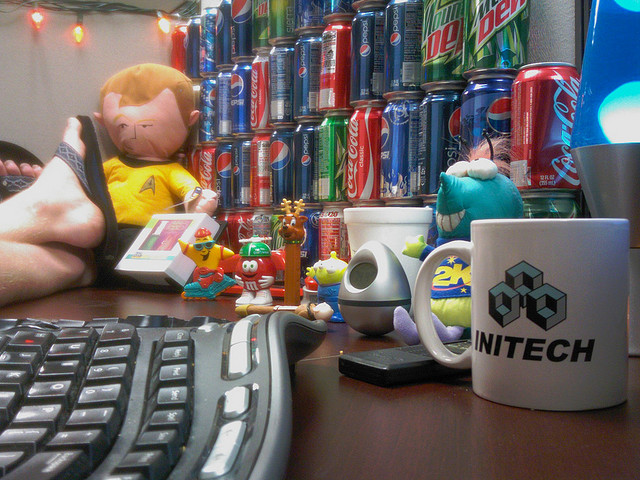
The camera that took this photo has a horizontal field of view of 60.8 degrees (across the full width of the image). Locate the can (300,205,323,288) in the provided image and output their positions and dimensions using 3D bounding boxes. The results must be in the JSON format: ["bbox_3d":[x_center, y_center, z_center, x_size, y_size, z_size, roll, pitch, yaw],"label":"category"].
[{"bbox_3d":[-0.022,0.002,1.107,0.029,0.143,0.055,2,0,-9],"label":"can"}]

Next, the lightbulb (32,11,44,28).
[{"bbox_3d":[-0.680,-0.532,1.320,0.022,0.033,0.008,-6,8,-28],"label":"lightbulb"}]

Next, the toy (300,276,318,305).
[{"bbox_3d":[-0.023,0.082,0.885,0.035,0.042,0.042,0,3,-4],"label":"toy"}]

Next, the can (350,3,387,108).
[{"bbox_3d":[0.099,-0.346,1.034,0.039,0.177,0.067,-6,7,-24],"label":"can"}]

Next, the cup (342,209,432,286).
[{"bbox_3d":[0.107,0.012,0.865,0.109,0.122,0.114,-1,1,0],"label":"cup"}]

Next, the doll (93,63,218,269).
[{"bbox_3d":[-0.372,-0.174,1.313,0.212,0.517,0.260,-3,8,-37],"label":"doll"}]

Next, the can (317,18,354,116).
[{"bbox_3d":[0.039,-0.343,1.091,0.074,0.183,0.075,1,10,0],"label":"can"}]

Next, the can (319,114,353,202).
[{"bbox_3d":[0.029,-0.157,1.074,0.059,0.171,0.047,-2,3,-11],"label":"can"}]

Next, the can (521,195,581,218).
[{"bbox_3d":[0.324,-0.047,0.770,0.050,0.054,0.051,1,3,-1],"label":"can"}]

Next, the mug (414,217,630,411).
[{"bbox_3d":[0.170,0.057,0.481,0.112,0.156,0.187,5,0,18],"label":"mug"}]

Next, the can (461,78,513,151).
[{"bbox_3d":[0.267,-0.189,0.872,0.073,0.121,0.056,6,10,35],"label":"can"}]

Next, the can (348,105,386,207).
[{"bbox_3d":[0.084,-0.161,1.065,0.042,0.183,0.074,-4,0,39],"label":"can"}]

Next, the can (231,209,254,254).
[{"bbox_3d":[-0.180,-0.016,1.286,0.057,0.105,0.060,1,11,0],"label":"can"}]

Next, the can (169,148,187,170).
[{"bbox_3d":[-0.362,-0.215,1.409,0.044,0.049,0.045,-2,9,-10],"label":"can"}]

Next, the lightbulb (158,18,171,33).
[{"bbox_3d":[-0.403,-0.561,1.425,0.015,0.033,0.036,2,8,26],"label":"lightbulb"}]

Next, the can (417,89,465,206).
[{"bbox_3d":[0.214,-0.158,0.960,0.055,0.198,0.070,-9,11,-39],"label":"can"}]

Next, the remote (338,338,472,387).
[{"bbox_3d":[0.077,0.113,0.523,0.108,0.015,0.054,-4,5,-24],"label":"remote"}]

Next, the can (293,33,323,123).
[{"bbox_3d":[-0.026,-0.327,1.115,0.038,0.155,0.074,-3,4,-31],"label":"can"}]

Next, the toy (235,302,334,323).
[{"bbox_3d":[-0.039,0.084,0.641,0.121,0.031,0.042,2,-9,24],"label":"toy"}]

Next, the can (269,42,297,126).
[{"bbox_3d":[-0.079,-0.332,1.169,0.035,0.156,0.080,-2,3,-33],"label":"can"}]
